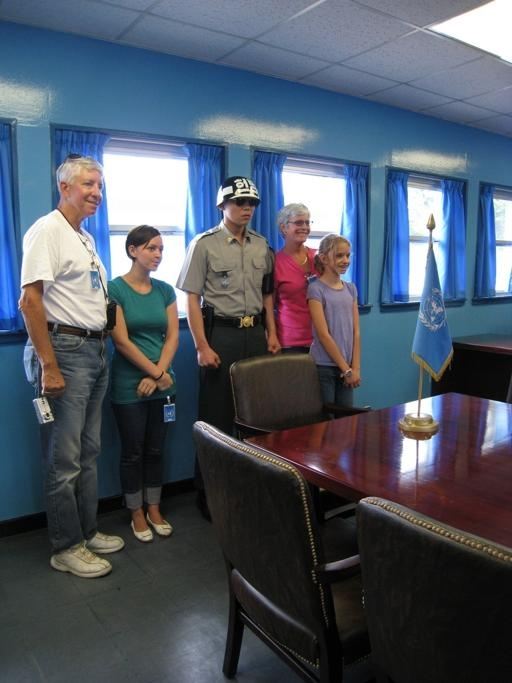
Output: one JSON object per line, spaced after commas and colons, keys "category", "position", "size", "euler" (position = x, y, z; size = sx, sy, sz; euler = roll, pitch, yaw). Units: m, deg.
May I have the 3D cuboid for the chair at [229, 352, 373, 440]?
{"category": "chair", "position": [0.148, 0.217, 2.310], "size": [0.401, 0.544, 0.426], "euler": [-9, 3, -32]}

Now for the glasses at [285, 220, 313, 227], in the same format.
{"category": "glasses", "position": [0.236, -0.682, 3.092], "size": [0.091, 0.029, 0.094], "euler": [-3, 5, -27]}

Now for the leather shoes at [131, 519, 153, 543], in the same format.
{"category": "leather shoes", "position": [-0.555, 0.947, 2.661], "size": [0.079, 0.060, 0.148], "euler": [-4, 6, -36]}

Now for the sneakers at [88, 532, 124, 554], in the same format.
{"category": "sneakers", "position": [-0.703, 0.952, 2.549], "size": [0.170, 0.087, 0.070], "euler": [0, 9, -4]}

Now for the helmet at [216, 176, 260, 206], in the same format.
{"category": "helmet", "position": [-0.093, -0.795, 2.834], "size": [0.223, 0.155, 0.181], "euler": [-1, 5, -5]}

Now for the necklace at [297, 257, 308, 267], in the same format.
{"category": "necklace", "position": [0.277, -0.478, 3.210], "size": [0.052, 0.014, 0.056], "euler": [-22, 7, 30]}

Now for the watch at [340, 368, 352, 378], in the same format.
{"category": "watch", "position": [0.481, 0.175, 2.917], "size": [0.043, 0.029, 0.049], "euler": [-9, 4, -28]}

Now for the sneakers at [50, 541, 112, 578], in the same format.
{"category": "sneakers", "position": [-0.765, 0.953, 2.389], "size": [0.262, 0.136, 0.116], "euler": [5, 6, 16]}

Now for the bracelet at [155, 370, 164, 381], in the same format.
{"category": "bracelet", "position": [-0.469, 0.169, 2.634], "size": [0.010, 0.041, 0.039], "euler": [15, -14, -21]}
